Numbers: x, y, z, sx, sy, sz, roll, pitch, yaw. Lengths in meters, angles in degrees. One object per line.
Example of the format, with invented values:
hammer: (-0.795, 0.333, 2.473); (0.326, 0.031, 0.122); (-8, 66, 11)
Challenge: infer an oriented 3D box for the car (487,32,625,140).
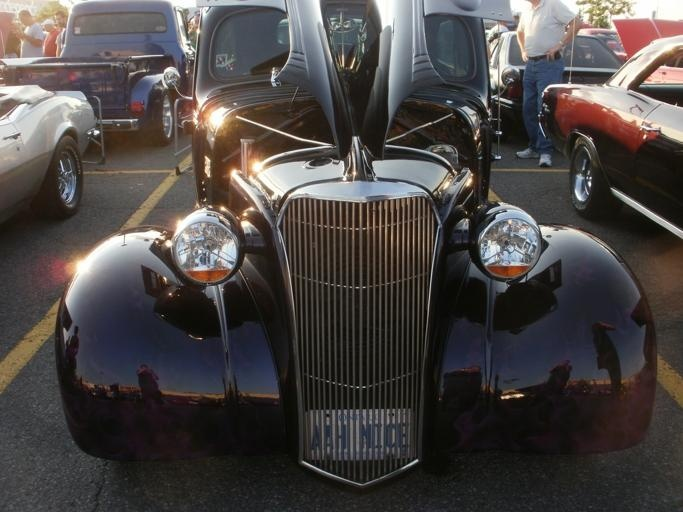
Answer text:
car: (2.721, -2.212, 7.374); (1.118, 1.034, 2.871); (-5, 30, -4)

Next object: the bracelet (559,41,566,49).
bracelet: (2.966, -2.842, 7.716); (0.060, 0.122, 0.095); (5, 18, 24)

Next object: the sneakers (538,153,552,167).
sneakers: (2.959, -1.394, 8.340); (0.094, 0.150, 0.308); (3, 23, 15)
